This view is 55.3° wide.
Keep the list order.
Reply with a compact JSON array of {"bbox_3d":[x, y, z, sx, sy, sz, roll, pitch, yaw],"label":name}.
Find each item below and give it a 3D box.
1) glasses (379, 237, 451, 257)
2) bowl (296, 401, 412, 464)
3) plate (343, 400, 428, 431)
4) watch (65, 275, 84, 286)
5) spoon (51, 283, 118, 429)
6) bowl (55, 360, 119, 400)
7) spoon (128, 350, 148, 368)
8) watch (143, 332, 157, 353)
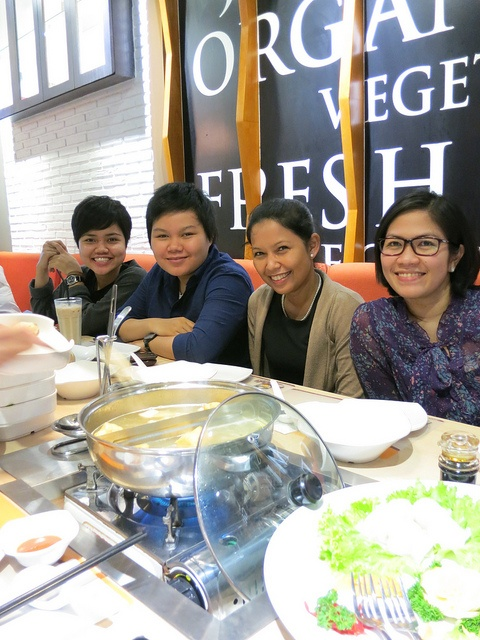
[{"bbox_3d":[0.524,-0.223,1.389,0.178,0.065,0.048,1,12,29],"label":"glasses"},{"bbox_3d":[0.205,0.196,0.848,0.151,0.059,0.161,1,7,0],"label":"bowl"},{"bbox_3d":[0.324,0.184,0.942,0.085,0.027,0.111,-5,6,-19],"label":"plate"},{"bbox_3d":[-0.919,-0.210,2.546,0.085,0.057,0.085,-9,-11,14],"label":"watch"},{"bbox_3d":[-0.314,0.070,0.966,0.093,0.222,0.091,-1,32,-21],"label":"spoon"},{"bbox_3d":[-0.351,0.140,1.055,0.091,0.045,0.129,-6,21,-21],"label":"bowl"},{"bbox_3d":[-0.295,0.101,1.298,0.035,0.034,0.310,-42,9,-14],"label":"spoon"},{"bbox_3d":[-0.365,0.090,1.853,0.047,0.067,0.025,0,-9,20],"label":"watch"}]
